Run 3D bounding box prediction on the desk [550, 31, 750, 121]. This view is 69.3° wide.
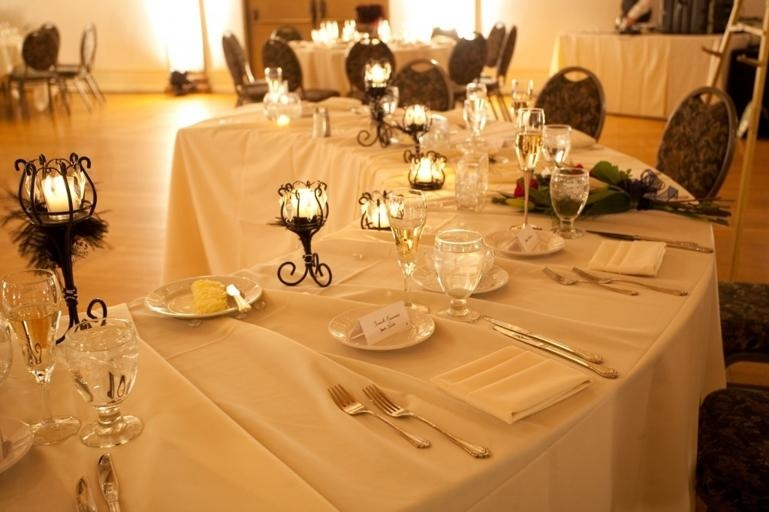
[{"bbox_3d":[2.822,-1.876,5.736,1.732,0.962,1.803,10,25,27],"label":"desk"}]

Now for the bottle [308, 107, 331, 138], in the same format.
[{"bbox_3d":[-0.361,-0.751,3.131,0.092,0.158,0.164,-10,22,-27],"label":"bottle"}]

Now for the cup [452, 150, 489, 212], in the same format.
[{"bbox_3d":[0.316,-0.272,2.016,0.105,0.208,0.105,0,19,0],"label":"cup"}]

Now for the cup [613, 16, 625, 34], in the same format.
[{"bbox_3d":[3.153,-3.097,7.459,0.151,0.225,0.068,-15,2,-20],"label":"cup"}]

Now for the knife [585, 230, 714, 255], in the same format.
[{"bbox_3d":[0.815,-0.038,1.704,0.352,0.056,0.019,11,6,10],"label":"knife"}]

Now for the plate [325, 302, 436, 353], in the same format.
[{"bbox_3d":[-0.007,0.156,1.330,0.259,0.083,0.150,1,20,3],"label":"plate"}]

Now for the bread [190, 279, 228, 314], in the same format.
[{"bbox_3d":[-0.463,0.104,1.466,0.091,0.052,0.162,-7,21,-19],"label":"bread"}]

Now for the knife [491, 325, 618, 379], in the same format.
[{"bbox_3d":[0.388,0.222,1.253,0.199,0.018,0.035,22,31,36],"label":"knife"}]

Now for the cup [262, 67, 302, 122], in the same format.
[{"bbox_3d":[-0.651,-1.005,3.495,0.220,0.319,0.391,-4,20,-11],"label":"cup"}]

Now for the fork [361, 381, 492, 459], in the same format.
[{"bbox_3d":[0.090,0.335,1.110,0.036,0.040,0.246,-25,32,-39],"label":"fork"}]

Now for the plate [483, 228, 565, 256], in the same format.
[{"bbox_3d":[0.423,-0.040,1.697,0.131,0.040,0.139,11,24,32],"label":"plate"}]

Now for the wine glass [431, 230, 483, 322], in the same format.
[{"bbox_3d":[0.185,0.040,1.387,0.117,0.227,0.231,3,20,8],"label":"wine glass"}]

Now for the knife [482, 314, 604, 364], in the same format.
[{"bbox_3d":[0.370,0.199,1.297,0.196,0.014,0.034,21,38,28],"label":"knife"}]

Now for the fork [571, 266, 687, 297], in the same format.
[{"bbox_3d":[0.663,0.074,1.506,0.212,0.028,0.025,14,44,37],"label":"fork"}]
